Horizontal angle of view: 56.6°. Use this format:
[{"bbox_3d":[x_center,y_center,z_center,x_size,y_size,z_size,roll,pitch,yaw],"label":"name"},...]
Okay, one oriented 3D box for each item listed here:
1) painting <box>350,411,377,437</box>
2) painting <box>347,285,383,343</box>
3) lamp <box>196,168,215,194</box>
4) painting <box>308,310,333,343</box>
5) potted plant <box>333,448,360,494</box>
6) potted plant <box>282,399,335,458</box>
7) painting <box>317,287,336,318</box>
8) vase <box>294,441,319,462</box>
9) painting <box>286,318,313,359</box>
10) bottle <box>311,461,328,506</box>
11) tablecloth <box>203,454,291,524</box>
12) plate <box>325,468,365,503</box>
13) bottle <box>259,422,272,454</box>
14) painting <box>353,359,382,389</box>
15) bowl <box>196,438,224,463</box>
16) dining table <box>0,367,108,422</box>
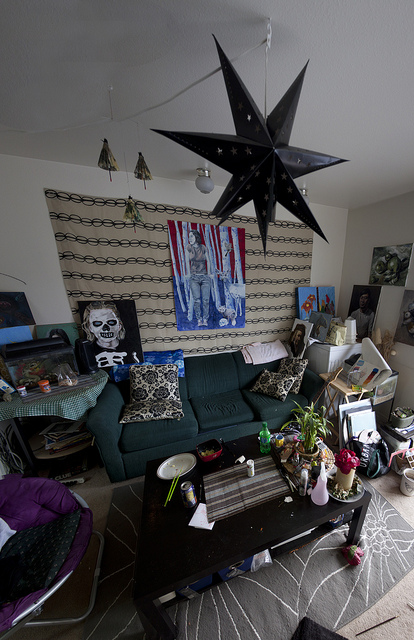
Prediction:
[{"bbox_3d":[1.108,0.740,2.724,0.252,0.169,0.046,-14,18,-22],"label":"painting"},{"bbox_3d":[1.410,-0.044,3.397,0.024,0.603,0.462,4,9,-17],"label":"painting"},{"bbox_3d":[-0.017,-0.715,1.943,0.082,0.111,0.105,-9,17,-7],"label":"lamp"},{"bbox_3d":[1.011,0.072,3.424,0.020,0.235,0.244,16,9,-21],"label":"painting"},{"bbox_3d":[0.726,0.778,2.050,0.119,0.225,0.204,-5,17,10],"label":"potted plant"},{"bbox_3d":[0.553,0.659,2.204,0.300,0.302,0.277,-6,-9,44],"label":"potted plant"},{"bbox_3d":[1.161,-0.180,3.774,0.310,0.371,0.037,-6,11,-27],"label":"painting"},{"bbox_3d":[0.562,0.747,2.193,0.135,0.108,0.081,0,18,24],"label":"vase"},{"bbox_3d":[0.844,0.175,3.482,0.043,0.372,0.290,16,13,-24],"label":"painting"},{"bbox_3d":[0.573,0.841,1.961,0.098,0.219,0.091,-7,17,2],"label":"bottle"},{"bbox_3d":[0.204,0.915,2.096,0.425,0.004,0.273,-23,30,6],"label":"tablecloth"},{"bbox_3d":[0.740,0.884,2.060,0.192,0.057,0.250,-1,17,17],"label":"plate"},{"bbox_3d":[0.354,0.711,2.371,0.072,0.182,0.138,-5,17,8],"label":"bottle"},{"bbox_3d":[1.219,0.421,2.928,0.047,0.174,0.191,27,9,-32],"label":"painting"},{"bbox_3d":[0.032,0.807,2.342,0.174,0.081,0.141,-11,17,-14],"label":"bowl"},{"bbox_3d":[-0.933,0.507,2.512,0.382,0.173,0.738,6,20,38],"label":"dining table"}]
